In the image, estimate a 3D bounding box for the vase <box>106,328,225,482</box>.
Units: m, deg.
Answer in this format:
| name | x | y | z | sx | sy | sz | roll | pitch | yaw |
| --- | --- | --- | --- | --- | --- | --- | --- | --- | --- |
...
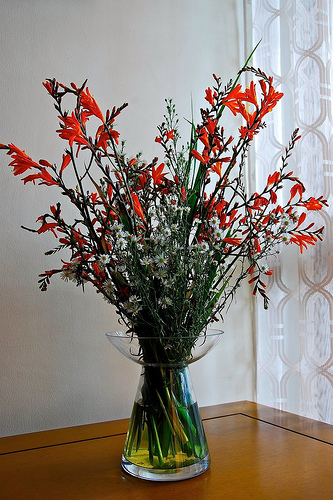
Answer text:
| name | x | y | z | sx | sy | sz | roll | pitch | yaw |
| --- | --- | --- | --- | --- | --- | --- | --- | --- | --- |
| vase | -0.003 | 0.252 | 0.739 | 0.166 | 0.197 | 0.177 | -14 | -17 | 38 |
